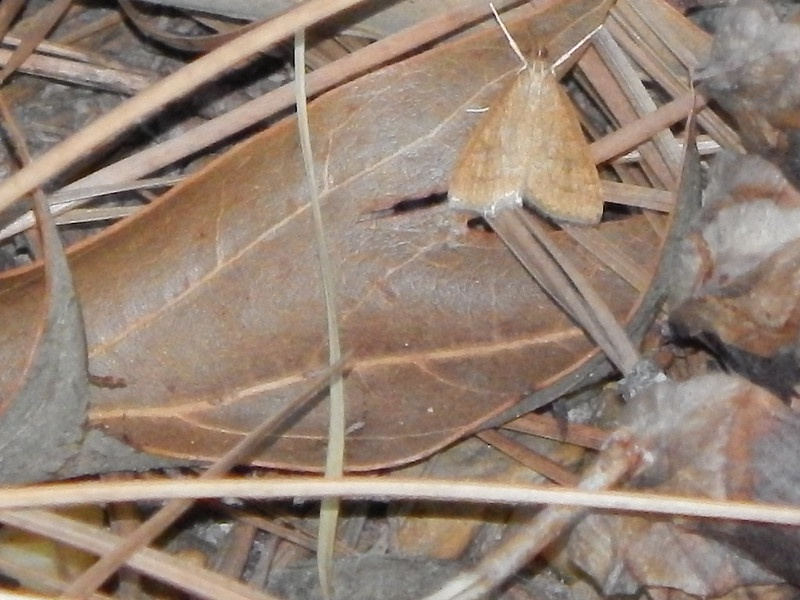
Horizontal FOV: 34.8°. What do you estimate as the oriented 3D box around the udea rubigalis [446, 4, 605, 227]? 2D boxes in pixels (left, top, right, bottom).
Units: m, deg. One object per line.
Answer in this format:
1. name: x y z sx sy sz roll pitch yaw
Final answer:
1. udea rubigalis: 0.221 -0.284 2.101 0.232 0.356 0.082 4 1 -12
